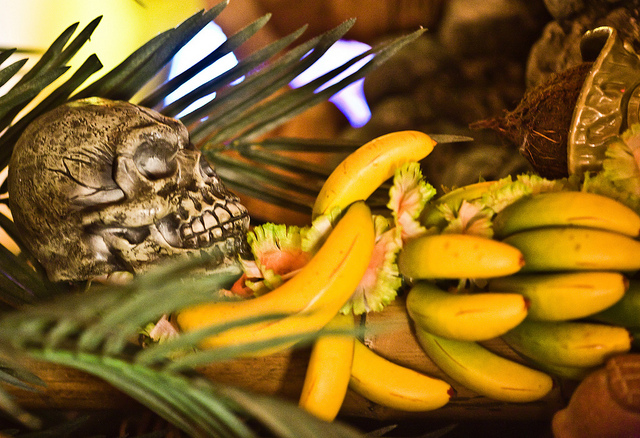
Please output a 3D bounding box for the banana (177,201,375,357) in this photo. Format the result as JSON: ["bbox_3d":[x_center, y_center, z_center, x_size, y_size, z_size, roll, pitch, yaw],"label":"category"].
[{"bbox_3d":[-0.064,0.058,1.086,0.334,0.151,0.113,-19,10,-15],"label":"banana"}]

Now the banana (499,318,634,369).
[{"bbox_3d":[0.315,0.159,1.061,0.160,0.068,0.030,-12,23,17],"label":"banana"}]

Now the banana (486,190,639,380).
[{"bbox_3d":[0.316,0.077,1.099,0.238,0.220,0.082,6,7,13],"label":"banana"}]

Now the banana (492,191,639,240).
[{"bbox_3d":[0.312,-0.007,1.057,0.222,0.055,0.060,2,52,9],"label":"banana"}]

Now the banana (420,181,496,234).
[{"bbox_3d":[0.197,-0.029,1.130,0.122,0.032,0.025,-15,25,50],"label":"banana"}]

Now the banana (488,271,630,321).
[{"bbox_3d":[0.312,0.098,1.077,0.069,0.069,0.209,-6,6,-39],"label":"banana"}]

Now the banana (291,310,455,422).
[{"bbox_3d":[0.036,0.210,1.068,0.220,0.056,0.166,-4,31,-42],"label":"banana"}]

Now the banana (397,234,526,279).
[{"bbox_3d":[0.173,0.049,1.042,0.177,0.056,0.056,-4,-3,17],"label":"banana"}]

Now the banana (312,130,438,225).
[{"bbox_3d":[0.070,-0.049,1.200,0.114,0.301,0.090,21,66,4],"label":"banana"}]
